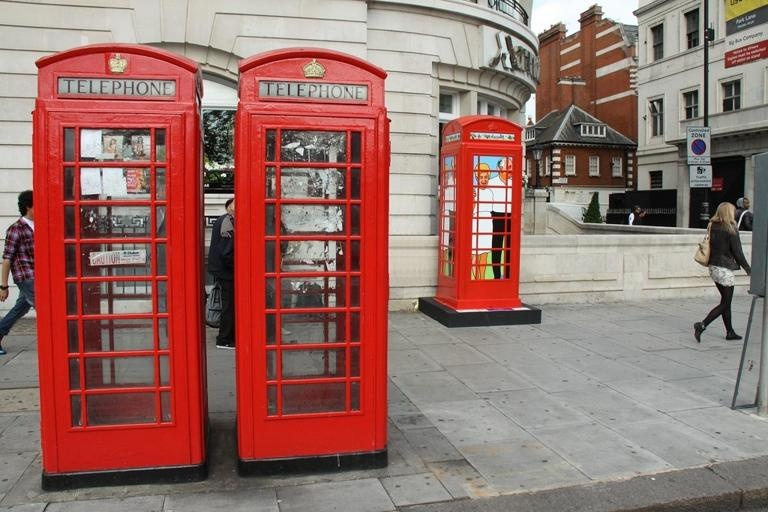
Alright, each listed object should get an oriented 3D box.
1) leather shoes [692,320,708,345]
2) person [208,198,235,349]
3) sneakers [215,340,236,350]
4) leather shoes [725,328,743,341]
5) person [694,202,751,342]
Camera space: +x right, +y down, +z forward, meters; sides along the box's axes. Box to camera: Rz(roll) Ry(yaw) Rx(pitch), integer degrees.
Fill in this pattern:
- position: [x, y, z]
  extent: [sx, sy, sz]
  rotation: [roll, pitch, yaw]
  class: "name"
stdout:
- position: [4.905, 1.155, 11.421]
  extent: [0.229, 0.451, 0.152]
  rotation: [-2, 5, 10]
  class: "leather shoes"
- position: [-2.375, 0.298, 10.764]
  extent: [0.356, 2.160, 0.507]
  rotation: [-1, 8, -14]
  class: "person"
- position: [-2.331, 1.327, 10.835]
  extent: [0.286, 0.115, 0.109]
  rotation: [0, -2, 12]
  class: "sneakers"
- position: [5.453, 1.246, 11.533]
  extent: [0.363, 0.235, 0.134]
  rotation: [-7, 6, -35]
  class: "leather shoes"
- position: [5.241, 0.257, 11.384]
  extent: [0.701, 2.148, 1.204]
  rotation: [5, 8, 25]
  class: "person"
